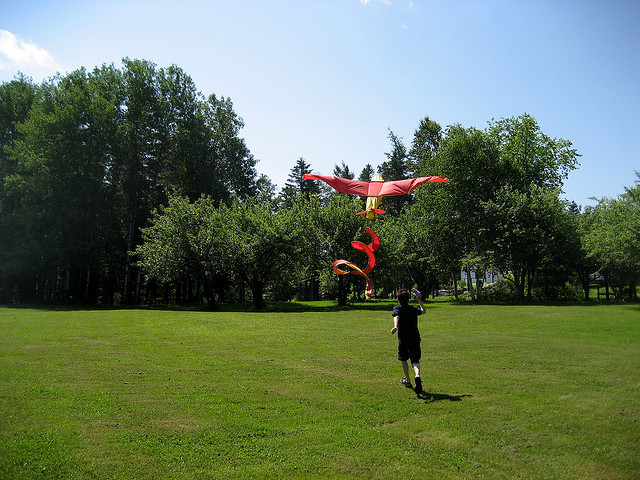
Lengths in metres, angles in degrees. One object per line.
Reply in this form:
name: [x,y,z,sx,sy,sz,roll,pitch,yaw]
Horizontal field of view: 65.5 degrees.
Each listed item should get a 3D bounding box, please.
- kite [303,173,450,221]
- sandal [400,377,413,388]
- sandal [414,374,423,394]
kite: [2.931,-2.266,24.895,4.729,2.500,5.598,1,1,11]
sandal: [2.361,3.898,13.557,0.127,0.173,0.353,-2,7,-17]
sandal: [2.554,3.751,12.944,0.170,0.515,0.223,-5,-11,13]
